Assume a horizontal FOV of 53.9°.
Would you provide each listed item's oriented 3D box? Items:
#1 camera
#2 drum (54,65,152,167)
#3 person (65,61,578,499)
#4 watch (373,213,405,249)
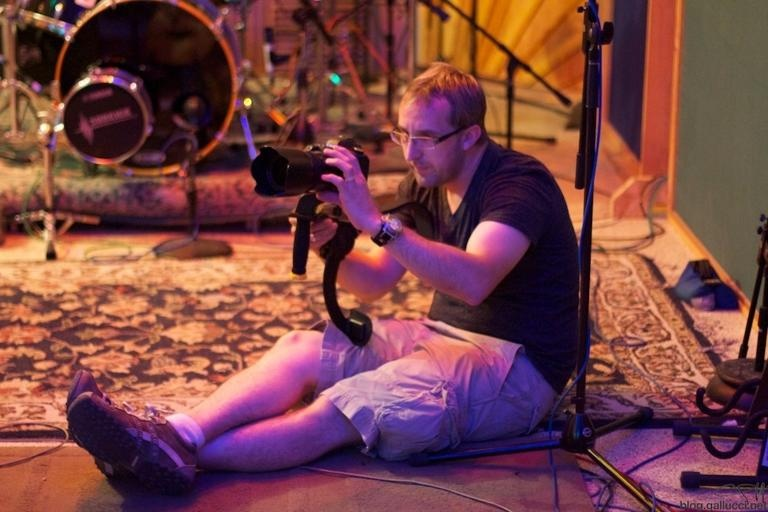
[{"bbox_3d":[-0.220,-0.238,2.232,0.255,0.140,0.187,-1,29,-31],"label":"camera"},{"bbox_3d":[-1.419,-0.759,4.178,0.499,0.474,0.498,24,11,-16],"label":"drum"},{"bbox_3d":[-0.128,0.065,2.395,1.666,1.148,0.863,-8,9,-17],"label":"person"},{"bbox_3d":[0.013,-0.070,2.273,0.065,0.089,0.095,30,-41,-31],"label":"watch"}]
